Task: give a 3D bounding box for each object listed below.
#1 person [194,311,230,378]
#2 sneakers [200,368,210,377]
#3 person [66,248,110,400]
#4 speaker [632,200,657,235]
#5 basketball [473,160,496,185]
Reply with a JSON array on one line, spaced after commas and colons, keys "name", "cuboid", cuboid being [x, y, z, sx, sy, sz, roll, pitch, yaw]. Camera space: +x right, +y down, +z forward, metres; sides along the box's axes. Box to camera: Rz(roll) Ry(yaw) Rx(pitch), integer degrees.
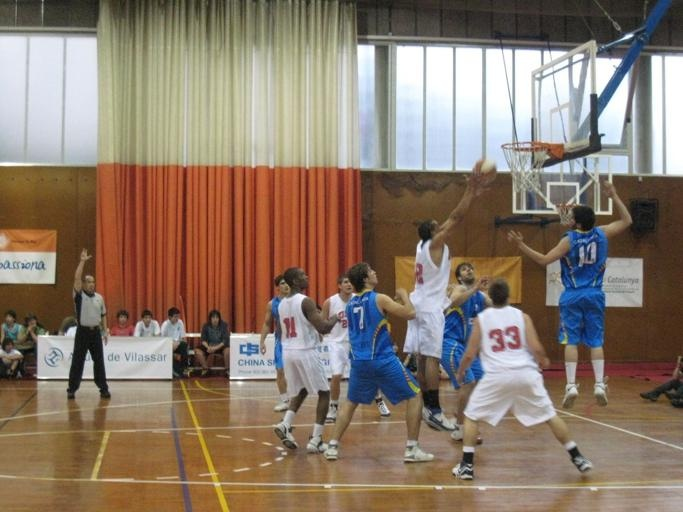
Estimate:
[{"name": "person", "cuboid": [-2.909, 1.942, 20.108, 0.766, 1.433, 0.794, 0, 7, -5]}, {"name": "sneakers", "cuboid": [-3.070, 2.572, 20.065, 0.178, 0.191, 0.299, -1, 7, -9]}, {"name": "person", "cuboid": [-4.867, 1.368, 17.341, 0.713, 2.653, 0.790, -20, -24, 41]}, {"name": "speaker", "cuboid": [7.444, -1.094, 22.348, 0.543, 0.877, 0.653, -2, 27, 14]}, {"name": "basketball", "cuboid": [2.179, -1.300, 13.962, 0.346, 0.307, 0.329, -21, -3, 19]}]
